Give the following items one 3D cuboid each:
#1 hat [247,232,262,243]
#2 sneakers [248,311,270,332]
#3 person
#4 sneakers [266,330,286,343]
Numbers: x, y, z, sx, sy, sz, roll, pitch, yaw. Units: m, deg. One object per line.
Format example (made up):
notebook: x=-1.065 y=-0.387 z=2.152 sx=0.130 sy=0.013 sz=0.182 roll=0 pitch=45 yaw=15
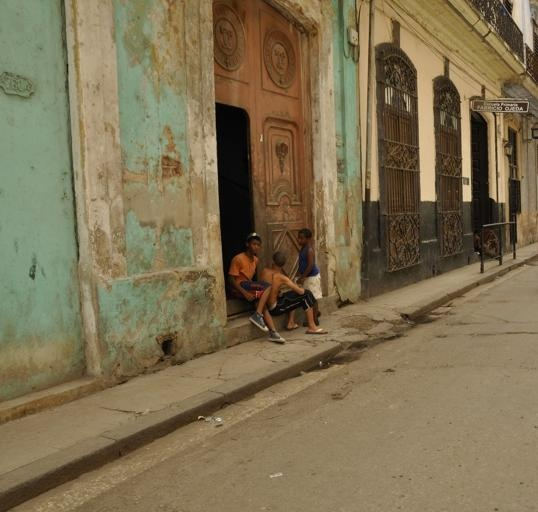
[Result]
hat: x=-0.198 y=-0.253 z=7.119 sx=0.103 sy=0.139 sz=0.131 roll=3 pitch=-13 yaw=-28
sneakers: x=-0.117 y=0.824 z=6.957 sx=0.275 sy=0.268 sz=0.258 roll=-5 pitch=6 yaw=-32
person: x=0.224 y=0.385 z=7.480 sx=0.846 sy=1.058 sz=1.487 roll=10 pitch=4 yaw=38
sneakers: x=0.103 y=0.982 z=6.796 sx=0.166 sy=0.130 sz=0.289 roll=-4 pitch=5 yaw=-15
